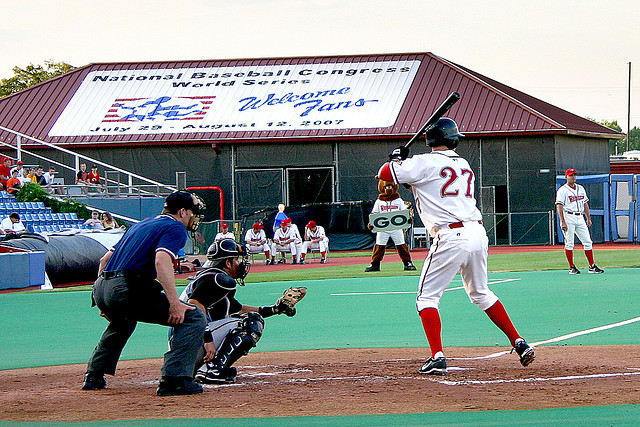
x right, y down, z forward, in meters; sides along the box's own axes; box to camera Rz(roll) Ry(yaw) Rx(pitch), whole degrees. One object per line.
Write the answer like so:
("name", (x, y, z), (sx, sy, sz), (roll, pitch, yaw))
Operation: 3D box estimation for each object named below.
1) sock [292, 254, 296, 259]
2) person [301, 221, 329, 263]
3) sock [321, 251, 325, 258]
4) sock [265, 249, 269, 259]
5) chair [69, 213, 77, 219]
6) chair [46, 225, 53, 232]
("sock", (-0.890, 1.460, 41.030), (0.098, 0.129, 0.051), (0, -6, 27))
("person", (-0.224, 0.980, 41.390), (0.839, 1.419, 1.126), (3, -5, -1))
("sock", (0.092, 1.393, 40.887), (0.099, 0.170, 0.051), (7, -6, -37))
("sock", (-1.810, 1.363, 41.257), (0.138, 0.254, 0.296), (3, -5, -2))
("chair", (-8.226, 0.073, 40.838), (0.175, 0.129, 0.221), (-2, 1, 18))
("chair", (-8.734, 0.462, 39.488), (0.145, 0.196, 0.217), (1, -5, 23))
